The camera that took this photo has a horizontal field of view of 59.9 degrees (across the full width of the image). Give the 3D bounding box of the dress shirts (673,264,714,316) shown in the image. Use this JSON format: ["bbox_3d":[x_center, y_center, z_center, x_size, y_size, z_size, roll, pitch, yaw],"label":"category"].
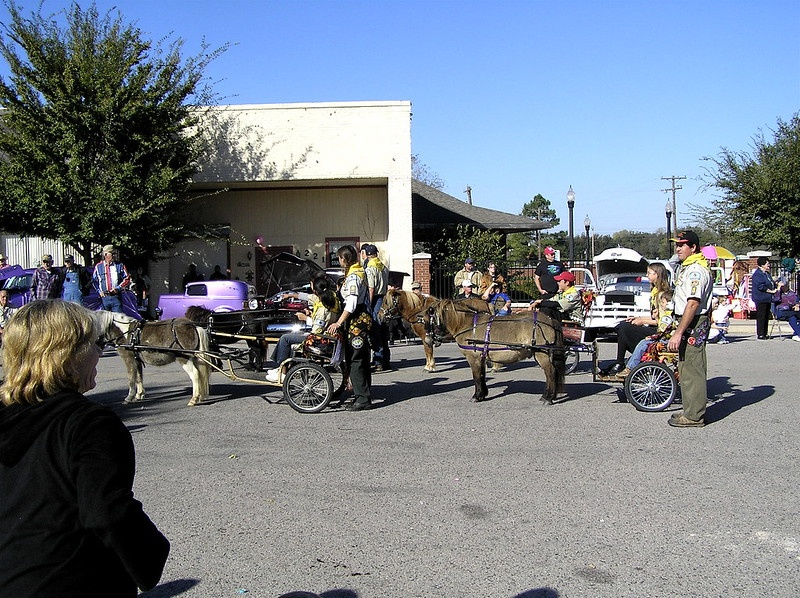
[{"bbox_3d":[3.690,-0.167,8.617,0.461,0.822,0.888,1,0,15],"label":"dress shirts"}]

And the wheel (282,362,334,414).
[{"bbox_3d":[-1.277,1.204,9.650,0.673,0.685,0.433,-1,4,0],"label":"wheel"}]

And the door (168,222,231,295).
[{"bbox_3d":[-7.984,-1.690,27.702,2.324,2.782,0.110,-6,33,-12],"label":"door"}]

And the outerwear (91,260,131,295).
[{"bbox_3d":[-5.633,-0.416,13.427,0.696,0.692,0.369,0,4,15],"label":"outerwear"}]

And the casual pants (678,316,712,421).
[{"bbox_3d":[3.625,0.835,8.519,0.358,1.277,0.313,0,4,12],"label":"casual pants"}]

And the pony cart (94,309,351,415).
[{"bbox_3d":[-3.065,0.924,10.560,3.794,1.602,1.134,2,8,-12],"label":"pony cart"}]

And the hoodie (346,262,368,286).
[{"bbox_3d":[-0.639,-0.387,9.828,0.249,0.236,0.453,-2,2,-3],"label":"hoodie"}]

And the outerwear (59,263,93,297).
[{"bbox_3d":[-7.412,-0.414,15.773,0.720,0.786,0.402,1,4,-5],"label":"outerwear"}]

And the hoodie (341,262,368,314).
[{"bbox_3d":[-0.657,-0.142,9.767,0.236,0.592,0.654,-1,7,16],"label":"hoodie"}]

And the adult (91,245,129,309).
[{"bbox_3d":[-5.594,-0.175,13.351,0.646,1.665,0.402,-4,19,-22],"label":"adult"}]

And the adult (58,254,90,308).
[{"bbox_3d":[-7.382,-0.306,15.699,0.606,1.195,0.371,-1,31,-13],"label":"adult"}]

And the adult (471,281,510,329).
[{"bbox_3d":[1.584,0.096,12.187,0.507,1.244,0.443,-7,-19,5],"label":"adult"}]

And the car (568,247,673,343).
[{"bbox_3d":[6.638,-0.527,19.635,2.525,2.779,4.721,-15,-9,29],"label":"car"}]

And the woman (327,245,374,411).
[{"bbox_3d":[-0.722,0.378,9.939,0.622,2.337,0.798,-3,3,7],"label":"woman"}]

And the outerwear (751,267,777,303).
[{"bbox_3d":[9.619,-0.362,18.350,0.521,0.933,0.689,1,4,28],"label":"outerwear"}]

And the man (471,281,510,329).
[{"bbox_3d":[1.584,0.096,12.187,0.507,1.244,0.443,-7,-19,5],"label":"man"}]

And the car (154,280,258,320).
[{"bbox_3d":[-5.676,-0.076,19.174,2.885,1.580,1.909,1,0,15],"label":"car"}]

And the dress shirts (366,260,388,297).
[{"bbox_3d":[-0.417,-0.349,11.803,0.282,0.743,0.578,0,8,26],"label":"dress shirts"}]

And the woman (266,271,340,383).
[{"bbox_3d":[-1.458,0.394,10.181,0.920,1.540,0.612,11,14,4],"label":"woman"}]

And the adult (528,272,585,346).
[{"bbox_3d":[2.821,0.245,12.463,0.907,1.562,0.725,3,3,-4],"label":"adult"}]

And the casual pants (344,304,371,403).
[{"bbox_3d":[-0.588,0.768,9.732,0.401,1.390,0.344,-1,4,-15],"label":"casual pants"}]

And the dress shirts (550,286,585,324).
[{"bbox_3d":[3.076,0.104,12.557,0.688,0.851,0.658,0,-1,5],"label":"dress shirts"}]

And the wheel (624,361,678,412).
[{"bbox_3d":[3.445,1.192,9.499,0.674,0.761,0.721,-5,9,1],"label":"wheel"}]

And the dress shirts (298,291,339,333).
[{"bbox_3d":[-1.123,0.183,10.045,0.603,0.678,0.245,-1,-5,-10],"label":"dress shirts"}]

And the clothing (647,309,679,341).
[{"bbox_3d":[3.677,0.319,9.535,0.364,0.483,0.282,1,-31,41],"label":"clothing"}]

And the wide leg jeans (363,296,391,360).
[{"bbox_3d":[-0.432,0.560,13.175,0.322,1.515,0.380,7,25,6],"label":"wide leg jeans"}]

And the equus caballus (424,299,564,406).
[{"bbox_3d":[1.464,0.778,10.459,2.118,1.639,0.723,-1,15,11],"label":"equus caballus"}]

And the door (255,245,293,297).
[{"bbox_3d":[-5.054,-1.110,27.369,1.418,2.756,0.064,4,-41,-20],"label":"door"}]
